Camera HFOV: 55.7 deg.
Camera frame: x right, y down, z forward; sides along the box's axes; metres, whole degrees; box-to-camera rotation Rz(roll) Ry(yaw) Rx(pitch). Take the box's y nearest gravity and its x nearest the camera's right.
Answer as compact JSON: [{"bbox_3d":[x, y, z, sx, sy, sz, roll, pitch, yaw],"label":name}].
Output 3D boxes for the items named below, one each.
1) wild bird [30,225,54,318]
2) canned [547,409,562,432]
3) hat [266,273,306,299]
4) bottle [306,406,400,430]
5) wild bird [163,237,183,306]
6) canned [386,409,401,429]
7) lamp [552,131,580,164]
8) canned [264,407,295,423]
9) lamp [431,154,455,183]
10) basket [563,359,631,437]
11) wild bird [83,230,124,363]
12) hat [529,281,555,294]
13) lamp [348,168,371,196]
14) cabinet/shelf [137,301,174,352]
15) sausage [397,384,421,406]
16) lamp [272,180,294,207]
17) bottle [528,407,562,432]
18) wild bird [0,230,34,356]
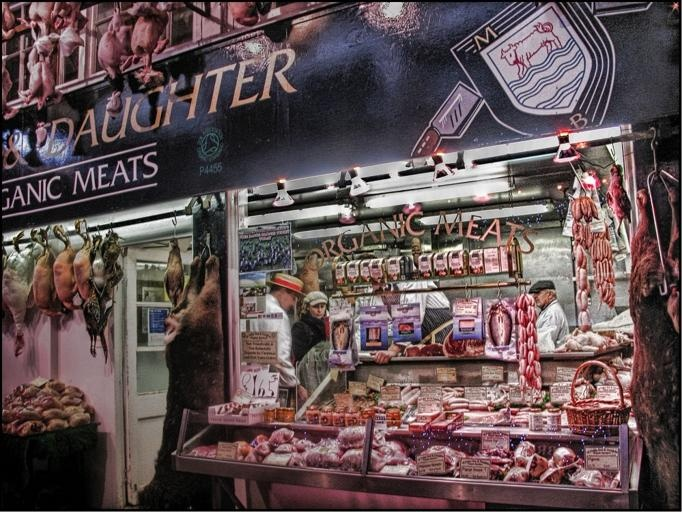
[{"bbox_3d":[-3.197,0.156,6.906,0.288,0.909,0.112,-4,-6,29],"label":"wild bird"},{"bbox_3d":[1.591,1.233,4.864,0.107,0.143,0.154,-3,-6,17],"label":"canned"},{"bbox_3d":[-0.510,0.258,6.028,0.228,0.078,0.208,24,-8,-20],"label":"hat"},{"bbox_3d":[0.079,1.331,5.359,0.848,0.145,0.235,-5,-6,27],"label":"bottle"},{"bbox_3d":[-1.609,0.153,6.342,0.176,0.656,0.252,-1,-12,-1],"label":"wild bird"},{"bbox_3d":[0.416,1.303,5.191,0.114,0.120,0.123,-1,-11,9],"label":"canned"},{"bbox_3d":[1.837,-0.875,5.304,0.207,0.245,0.220,-1,30,39],"label":"lamp"},{"bbox_3d":[-0.548,1.385,5.601,0.182,0.083,0.136,1,-8,6],"label":"canned"},{"bbox_3d":[0.879,-0.767,5.693,0.189,0.279,0.193,-13,1,18],"label":"lamp"},{"bbox_3d":[1.917,1.039,4.860,0.439,0.525,0.596,-4,-6,23],"label":"basket"},{"bbox_3d":[-2.462,0.419,6.712,0.385,1.363,0.529,-2,-9,-11],"label":"wild bird"},{"bbox_3d":[1.763,0.267,5.648,0.155,0.082,0.113,5,-7,10],"label":"hat"},{"bbox_3d":[0.171,-0.678,5.903,0.183,0.189,0.130,-17,-6,7],"label":"lamp"},{"bbox_3d":[-1.913,0.744,6.620,0.455,0.698,0.359,3,-10,-16],"label":"cabinet/shelf"},{"bbox_3d":[0.588,1.192,5.540,0.133,0.043,0.139,-23,16,7],"label":"sausage"},{"bbox_3d":[-0.546,-0.547,6.107,0.264,0.272,0.188,-3,-9,4],"label":"lamp"},{"bbox_3d":[1.540,1.237,4.890,0.240,0.174,0.141,-2,-3,23],"label":"bottle"},{"bbox_3d":[-3.512,0.388,7.208,0.359,1.408,0.482,1,3,23],"label":"wild bird"}]
